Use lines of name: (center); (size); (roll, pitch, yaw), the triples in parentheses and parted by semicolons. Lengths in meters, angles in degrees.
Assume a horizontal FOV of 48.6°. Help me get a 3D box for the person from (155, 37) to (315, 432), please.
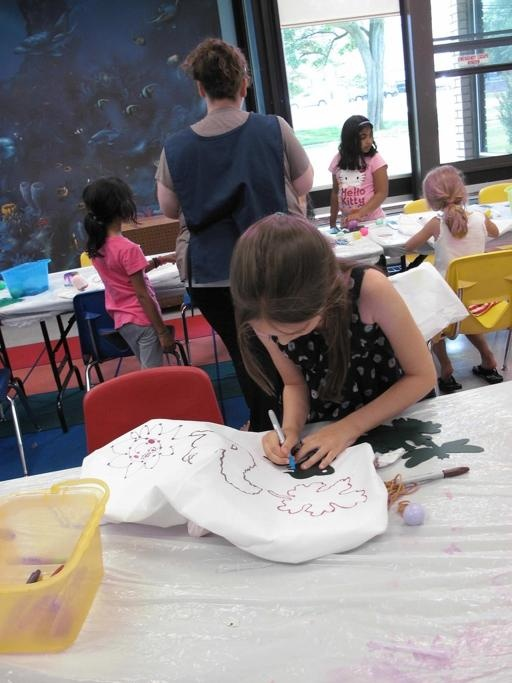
person: (0.001, -0.302, 1.881); (0.505, 1.216, 0.440); (-6, 17, 10)

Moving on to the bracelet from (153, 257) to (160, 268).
bracelet: (-0.511, -0.410, 2.906); (0.019, 0.043, 0.041); (-4, -1, 41)

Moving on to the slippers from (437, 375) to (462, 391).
slippers: (0.869, 0.186, 2.533); (0.062, 0.033, 0.096); (-5, 19, -5)

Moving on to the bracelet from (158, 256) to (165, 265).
bracelet: (-0.504, -0.431, 2.984); (0.038, 0.043, 0.026); (-1, -15, -21)

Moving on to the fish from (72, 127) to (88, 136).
fish: (-1.428, -1.691, 4.551); (0.099, 0.064, 0.007); (-9, 14, -2)

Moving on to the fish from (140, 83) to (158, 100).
fish: (-0.860, -1.990, 4.501); (0.131, 0.168, 0.058); (13, 14, -14)

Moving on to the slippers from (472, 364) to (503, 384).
slippers: (1.044, 0.148, 2.549); (0.054, 0.038, 0.135); (-4, 19, -1)

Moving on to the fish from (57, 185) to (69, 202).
fish: (-1.589, -1.226, 4.621); (0.102, 0.086, 0.022); (6, 9, -1)

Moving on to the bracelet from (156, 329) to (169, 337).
bracelet: (-0.401, -0.038, 2.378); (0.039, 0.026, 0.040); (-4, 9, 6)

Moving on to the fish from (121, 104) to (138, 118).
fish: (-1.021, -1.835, 4.527); (0.086, 0.138, 0.046); (22, 16, -10)

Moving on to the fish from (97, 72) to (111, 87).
fish: (-1.204, -2.070, 4.469); (0.108, 0.097, 0.025); (26, 17, -6)

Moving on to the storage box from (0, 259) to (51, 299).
storage box: (-1.088, -0.296, 2.782); (0.267, 0.157, 0.203); (-15, 11, -32)

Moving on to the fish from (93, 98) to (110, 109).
fish: (-1.234, -1.905, 4.514); (0.082, 0.068, 0.034); (-2, -3, 3)
